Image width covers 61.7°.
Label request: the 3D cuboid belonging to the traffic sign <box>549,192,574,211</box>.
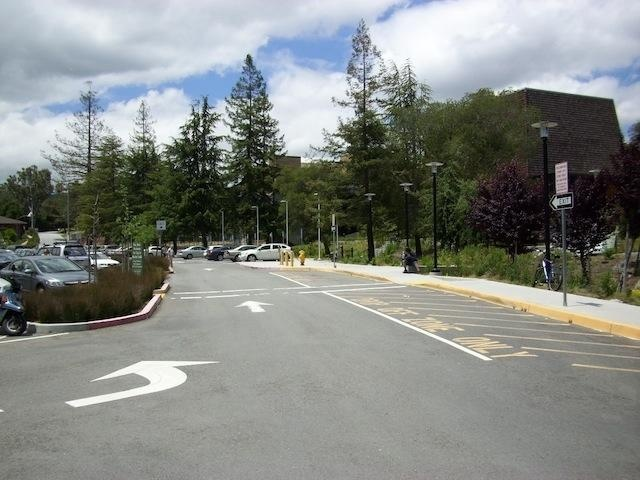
[{"bbox_3d":[6.467,-1.042,14.295,0.463,0.449,1.300,1,4,23],"label":"traffic sign"}]
